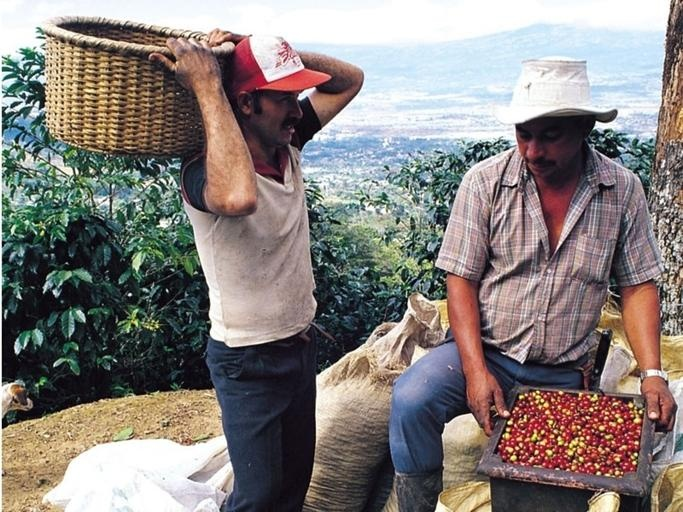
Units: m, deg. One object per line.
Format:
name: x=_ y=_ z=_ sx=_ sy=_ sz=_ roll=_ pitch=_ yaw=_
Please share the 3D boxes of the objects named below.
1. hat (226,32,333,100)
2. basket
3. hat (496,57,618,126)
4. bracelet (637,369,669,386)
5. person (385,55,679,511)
hat: x=-0.305 y=-0.889 z=2.920 sx=0.393 sy=0.212 sz=0.280 roll=3 pitch=28 yaw=4
basket: x=-0.943 y=-0.624 z=2.945 sx=0.774 sy=0.526 sz=0.801 roll=4 pitch=18 yaw=-17
hat: x=1.067 y=-0.785 z=2.987 sx=0.415 sy=0.229 sz=0.410 roll=-1 pitch=11 yaw=5
bracelet: x=1.559 y=0.587 z=3.107 sx=0.116 sy=0.074 sz=0.152 roll=1 pitch=15 yaw=23
person: x=0.932 y=0.129 z=3.119 sx=1.438 sy=2.141 sz=0.680 roll=-5 pitch=15 yaw=2
